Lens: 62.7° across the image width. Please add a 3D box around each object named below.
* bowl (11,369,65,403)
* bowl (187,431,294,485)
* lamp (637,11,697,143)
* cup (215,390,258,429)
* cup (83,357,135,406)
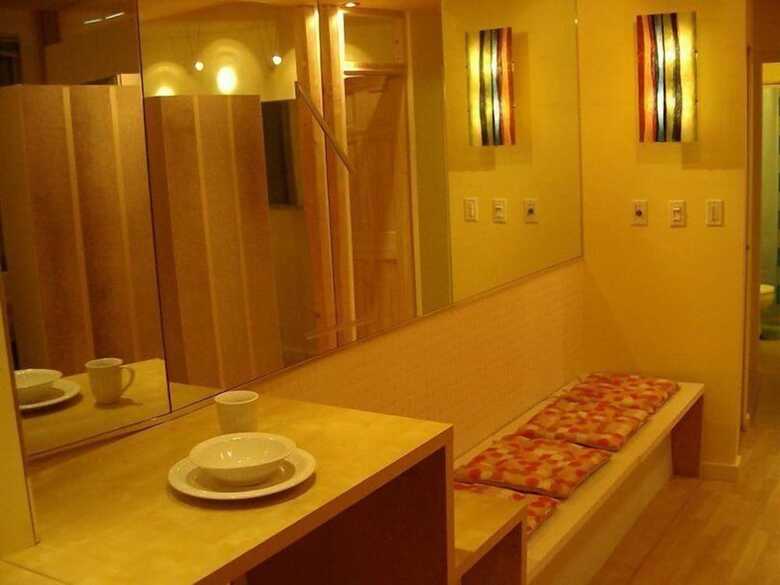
[{"bbox_3d":[-0.675,0.173,1.215,0.068,0.027,0.063,4,8,-1],"label":"bowl"},{"bbox_3d":[-0.301,0.340,1.299,0.210,0.050,0.213,-1,6,0],"label":"bowl"},{"bbox_3d":[1.408,-1.082,3.246,0.327,0.619,0.098,5,15,19],"label":"lamp"},{"bbox_3d":[-0.340,0.267,1.442,0.088,0.070,0.083,0,5,0],"label":"cup"},{"bbox_3d":[-0.588,0.192,1.350,0.089,0.071,0.062,2,5,12],"label":"cup"}]
